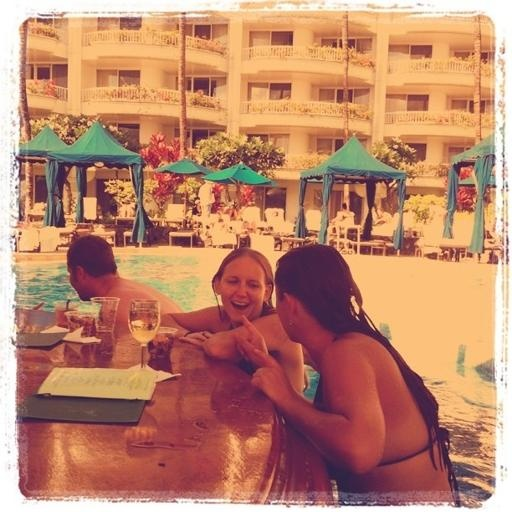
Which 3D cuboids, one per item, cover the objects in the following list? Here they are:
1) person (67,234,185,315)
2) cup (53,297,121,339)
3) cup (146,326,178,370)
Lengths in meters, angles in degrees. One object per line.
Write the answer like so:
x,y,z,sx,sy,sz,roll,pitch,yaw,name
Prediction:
-1.208,0.156,6.627,0.498,1.082,0.653,-19,2,33,person
-0.792,0.281,3.217,0.211,0.163,0.337,1,1,-44,cup
-0.396,0.387,2.802,0.114,0.128,0.132,2,-6,-3,cup
